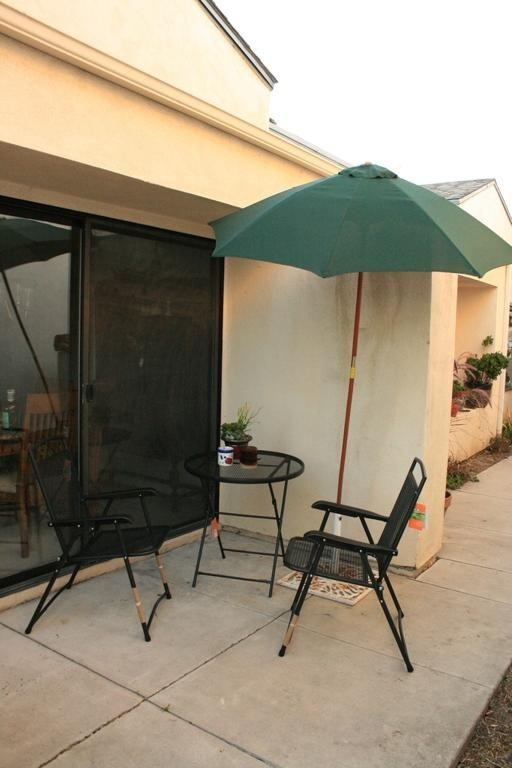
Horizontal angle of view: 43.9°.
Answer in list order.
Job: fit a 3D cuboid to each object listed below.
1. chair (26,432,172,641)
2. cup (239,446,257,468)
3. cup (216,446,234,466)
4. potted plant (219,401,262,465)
[{"bbox_3d":[-0.785,0.758,3.273,0.690,0.858,0.592,0,5,-6],"label":"chair"},{"bbox_3d":[-0.043,0.428,3.788,0.089,0.097,0.114,1,1,10],"label":"cup"},{"bbox_3d":[-0.178,0.433,3.838,0.103,0.101,0.103,1,6,0],"label":"cup"},{"bbox_3d":[-0.120,0.318,4.058,0.216,0.365,0.223,2,2,42],"label":"potted plant"}]
